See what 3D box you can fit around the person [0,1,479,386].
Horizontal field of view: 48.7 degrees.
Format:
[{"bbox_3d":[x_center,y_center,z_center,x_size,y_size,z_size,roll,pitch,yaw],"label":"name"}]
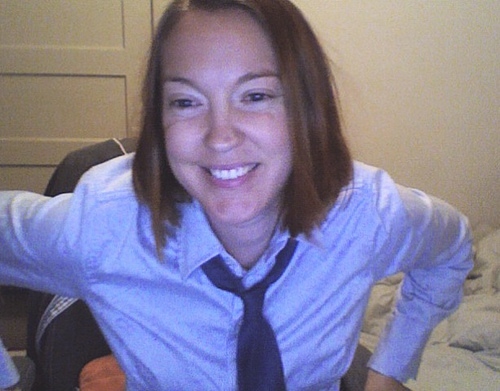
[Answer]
[{"bbox_3d":[-0.019,0.066,1.722,1.475,1.257,0.415,-4,16,-15],"label":"person"}]
